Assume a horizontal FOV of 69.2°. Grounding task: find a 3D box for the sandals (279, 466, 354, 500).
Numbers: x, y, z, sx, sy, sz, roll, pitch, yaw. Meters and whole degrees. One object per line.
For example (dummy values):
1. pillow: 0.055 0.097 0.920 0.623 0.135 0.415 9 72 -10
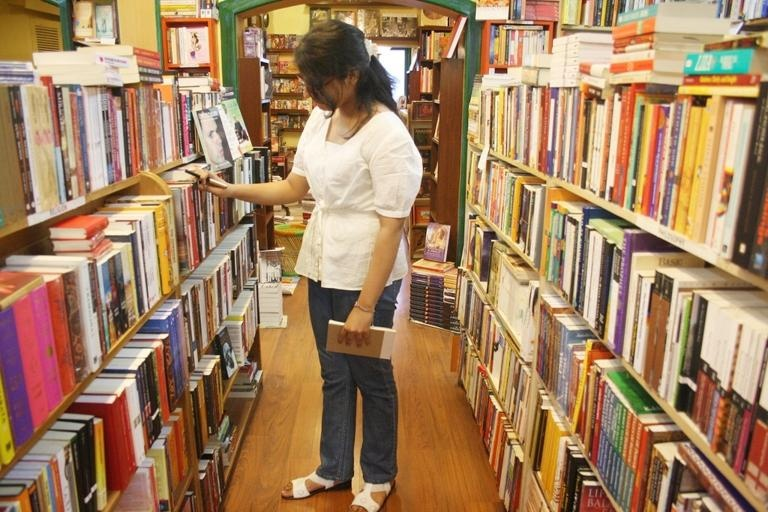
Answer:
1. sandals: -0.367 1.139 2.800 0.304 0.116 0.141 1 2 -4
